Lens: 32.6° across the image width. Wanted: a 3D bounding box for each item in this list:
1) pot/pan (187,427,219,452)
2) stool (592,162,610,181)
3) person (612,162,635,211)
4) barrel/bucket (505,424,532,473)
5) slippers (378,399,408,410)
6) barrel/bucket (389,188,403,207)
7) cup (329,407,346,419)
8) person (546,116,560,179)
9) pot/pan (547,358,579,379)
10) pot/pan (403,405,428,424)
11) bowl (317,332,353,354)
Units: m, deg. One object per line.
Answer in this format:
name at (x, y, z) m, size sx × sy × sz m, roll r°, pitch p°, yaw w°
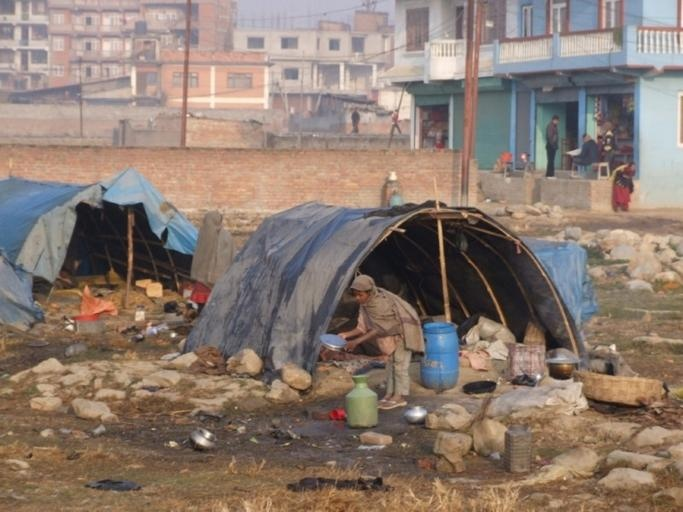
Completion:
pot/pan at (-2.029, 2.636, 16.877) m, size 0.313 × 0.204 × 0.315 m, roll 26°, pitch -1°, yaw 24°
stool at (6.932, -2.292, 31.148) m, size 0.424 × 0.446 × 0.435 m, roll 1°, pitch 3°, yaw 12°
person at (7.417, -1.806, 30.589) m, size 0.624 × 1.253 × 0.545 m, roll -1°, pitch 4°, yaw -12°
barrel/bucket at (2.448, 2.716, 16.282) m, size 0.374 × 0.574 × 0.238 m, roll 0°, pitch 3°, yaw 6°
slippers at (0.742, 2.255, 17.859) m, size 0.391 × 0.104 × 0.160 m, roll 2°, pitch -3°, yaw -24°
barrel/bucket at (1.390, -1.540, 30.315) m, size 0.352 × 0.400 × 0.829 m, roll 0°, pitch 3°, yaw 2°
cup at (-0.089, 2.389, 17.666) m, size 0.236 × 0.138 × 0.224 m, roll 0°, pitch 3°, yaw 0°
person at (5.786, -3.031, 32.207) m, size 0.303 × 1.665 × 1.204 m, roll 1°, pitch 3°, yaw 10°
pot/pan at (3.463, 1.767, 18.418) m, size 0.480 × 0.294 × 0.277 m, roll 1°, pitch 3°, yaw 10°
pot/pan at (1.087, 2.349, 17.358) m, size 0.268 × 0.165 × 0.261 m, roll 3°, pitch -5°, yaw -25°
bowl at (-0.146, 1.309, 17.834) m, size 0.433 × 0.233 × 0.522 m, roll 0°, pitch 3°, yaw -1°
